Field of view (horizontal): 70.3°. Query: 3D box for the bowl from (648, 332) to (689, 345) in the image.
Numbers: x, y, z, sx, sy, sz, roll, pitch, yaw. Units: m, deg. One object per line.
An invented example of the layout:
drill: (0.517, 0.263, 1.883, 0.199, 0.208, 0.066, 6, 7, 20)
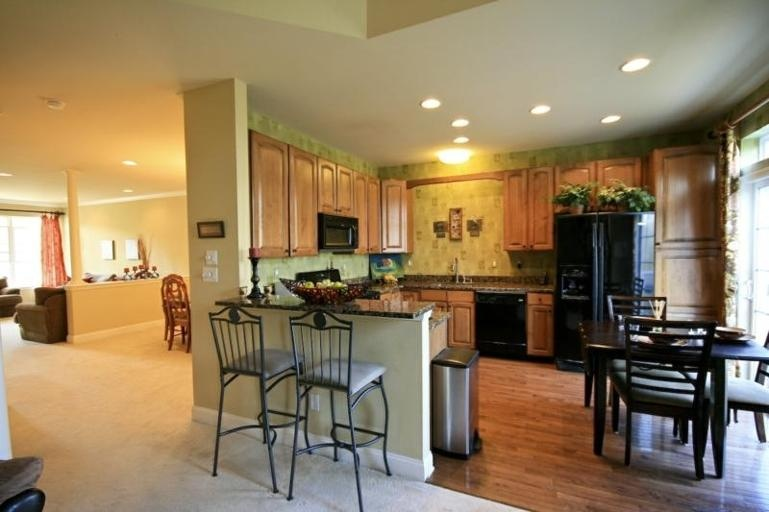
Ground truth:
bowl: (2.683, 0.772, 5.156, 0.334, 0.138, 0.408, -1, 1, 27)

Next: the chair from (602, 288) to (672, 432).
chair: (3.180, 1.183, 6.711, 0.724, 1.109, 0.739, -1, 5, 13)

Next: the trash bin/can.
trash bin/can: (0.698, 1.457, 5.436, 0.467, 1.008, 0.332, -1, 2, 12)

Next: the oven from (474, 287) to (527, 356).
oven: (1.608, 1.022, 7.568, 0.689, 0.880, 0.628, 2, -27, 10)

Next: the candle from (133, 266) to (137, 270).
candle: (-5.073, 0.254, 11.103, 0.074, 0.069, 0.038, 2, 8, 23)

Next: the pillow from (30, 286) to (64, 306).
pillow: (-5.204, 0.612, 8.496, 0.332, 0.306, 0.320, -2, 0, -29)

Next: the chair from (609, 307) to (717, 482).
chair: (2.804, 1.279, 5.564, 0.935, 1.597, 1.062, 5, 14, 36)

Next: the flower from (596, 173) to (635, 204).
flower: (2.910, -0.821, 6.945, 0.414, 0.285, 0.408, -4, -3, 44)

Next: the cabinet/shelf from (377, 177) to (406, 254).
cabinet/shelf: (0.146, -0.585, 8.236, 0.387, 1.076, 0.122, 4, 8, 28)

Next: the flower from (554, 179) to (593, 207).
flower: (2.463, -0.820, 7.036, 0.387, 0.269, 0.383, -2, 4, 37)

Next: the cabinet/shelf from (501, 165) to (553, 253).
cabinet/shelf: (2.027, -0.625, 7.572, 0.699, 1.102, 0.386, 0, 1, 34)

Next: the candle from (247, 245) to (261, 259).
candle: (-1.340, -0.035, 5.651, 0.124, 0.112, 0.123, -4, 6, -28)

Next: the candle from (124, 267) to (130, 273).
candle: (-5.026, 0.276, 10.646, 0.058, 0.067, 0.102, 0, 4, -10)

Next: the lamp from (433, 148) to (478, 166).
lamp: (0.876, -1.299, 7.137, 0.320, 0.111, 0.321, -1, 0, 40)

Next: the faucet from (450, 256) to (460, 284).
faucet: (1.050, 0.200, 8.114, 0.079, 0.366, 0.142, -3, 2, -32)

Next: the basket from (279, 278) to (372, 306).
basket: (-0.622, 0.367, 5.472, 0.823, 0.236, 0.347, -2, 1, 5)

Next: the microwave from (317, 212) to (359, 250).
microwave: (-0.657, -0.294, 7.253, 0.414, 0.443, 0.753, 3, 1, 34)

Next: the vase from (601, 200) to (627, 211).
vase: (2.875, -0.621, 6.882, 0.183, 0.130, 0.157, -3, 7, 17)
